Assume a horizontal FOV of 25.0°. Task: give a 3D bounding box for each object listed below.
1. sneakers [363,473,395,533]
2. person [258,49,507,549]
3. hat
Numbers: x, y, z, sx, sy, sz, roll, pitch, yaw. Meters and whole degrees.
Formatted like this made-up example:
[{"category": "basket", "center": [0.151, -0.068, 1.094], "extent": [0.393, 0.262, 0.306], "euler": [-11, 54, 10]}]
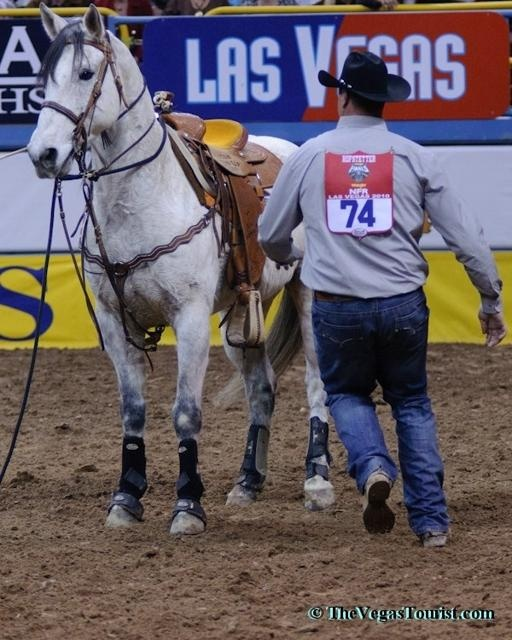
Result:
[{"category": "sneakers", "center": [0.422, 0.655, 4.007], "extent": [0.112, 0.221, 0.101], "euler": [-3, 35, 2]}, {"category": "person", "center": [0.444, -0.079, 4.171], "extent": [0.556, 1.777, 0.747], "euler": [-9, 12, -39]}, {"category": "hat", "center": [0.367, -0.867, 4.143], "extent": [0.239, 0.099, 0.256], "euler": [-14, 34, -32]}]
